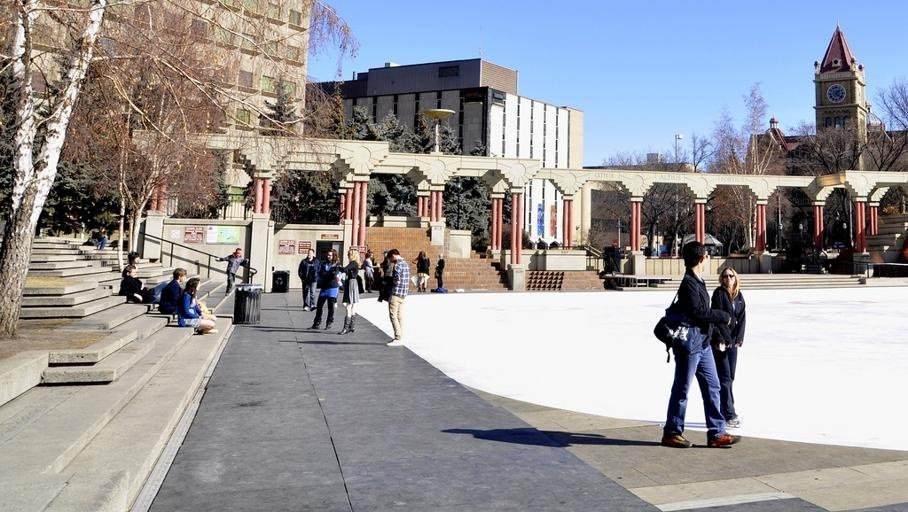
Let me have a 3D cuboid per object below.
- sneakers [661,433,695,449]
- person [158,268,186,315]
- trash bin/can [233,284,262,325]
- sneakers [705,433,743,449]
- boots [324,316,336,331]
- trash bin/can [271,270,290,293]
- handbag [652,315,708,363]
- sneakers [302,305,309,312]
[{"bbox_3d":[4.130,3.417,14.647,0.549,0.215,0.241,-2,3,17],"label":"sneakers"},{"bbox_3d":[-8.082,1.066,22.698,0.751,1.041,0.939,2,28,-41],"label":"person"},{"bbox_3d":[-6.561,1.550,24.667,1.261,1.291,1.117,4,-8,-30],"label":"trash bin/can"},{"bbox_3d":[4.935,3.424,14.611,0.643,0.250,0.242,-5,10,0],"label":"sneakers"},{"bbox_3d":[-3.705,2.040,23.512,0.219,0.380,0.424,12,6,-6],"label":"boots"},{"bbox_3d":[-7.821,1.177,35.787,0.997,1.096,0.927,-1,3,3],"label":"trash bin/can"},{"bbox_3d":[4.152,1.584,14.624,0.917,0.904,0.468,5,13,20],"label":"handbag"},{"bbox_3d":[-5.272,1.894,28.169,0.176,0.163,0.165,-2,-2,8],"label":"sneakers"}]
